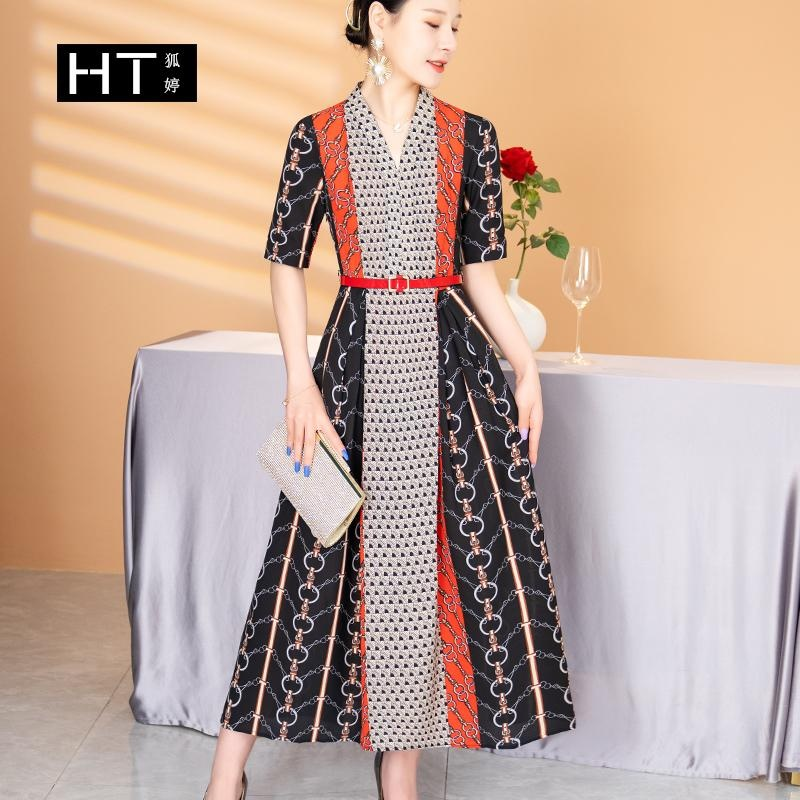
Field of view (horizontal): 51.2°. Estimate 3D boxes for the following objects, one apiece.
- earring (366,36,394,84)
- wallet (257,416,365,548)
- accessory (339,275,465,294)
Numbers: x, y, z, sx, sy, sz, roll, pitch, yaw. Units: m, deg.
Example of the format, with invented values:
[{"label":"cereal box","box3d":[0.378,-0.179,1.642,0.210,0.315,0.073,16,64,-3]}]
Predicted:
[{"label":"earring","box3d":[-0.032,-0.522,1.297,0.035,0.066,0.022,6,8,31]},{"label":"wallet","box3d":[-0.113,0.135,1.253,0.038,0.103,0.149,18,-27,33]},{"label":"accessory","box3d":[0.003,-0.188,1.343,0.195,0.034,0.063,2,6,-2]}]
